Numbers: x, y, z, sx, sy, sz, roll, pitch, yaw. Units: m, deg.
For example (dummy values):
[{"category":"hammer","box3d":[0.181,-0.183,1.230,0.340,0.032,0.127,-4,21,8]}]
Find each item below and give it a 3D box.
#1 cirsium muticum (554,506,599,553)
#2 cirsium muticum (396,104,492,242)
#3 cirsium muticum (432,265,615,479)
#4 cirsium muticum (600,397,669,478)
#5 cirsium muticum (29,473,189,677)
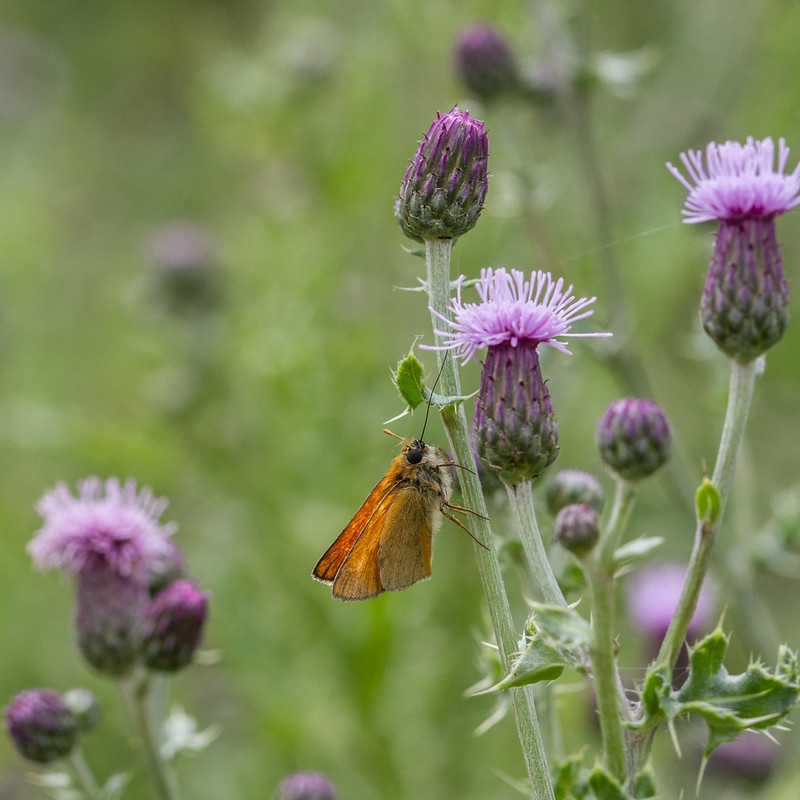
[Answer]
[{"category":"cirsium muticum","box3d":[0.461,0.336,3.300,0.080,0.146,0.113,0,8,3]},{"category":"cirsium muticum","box3d":[0.131,-0.652,3.862,0.246,0.465,0.263,-4,-23,44]},{"category":"cirsium muticum","box3d":[0.393,-0.074,3.751,0.359,0.566,0.391,-9,1,-35]},{"category":"cirsium muticum","box3d":[0.752,0.119,3.820,0.171,0.279,0.189,-4,13,31]},{"category":"cirsium muticum","box3d":[-0.901,0.628,4.141,0.426,0.726,0.551,-11,-25,4]}]
